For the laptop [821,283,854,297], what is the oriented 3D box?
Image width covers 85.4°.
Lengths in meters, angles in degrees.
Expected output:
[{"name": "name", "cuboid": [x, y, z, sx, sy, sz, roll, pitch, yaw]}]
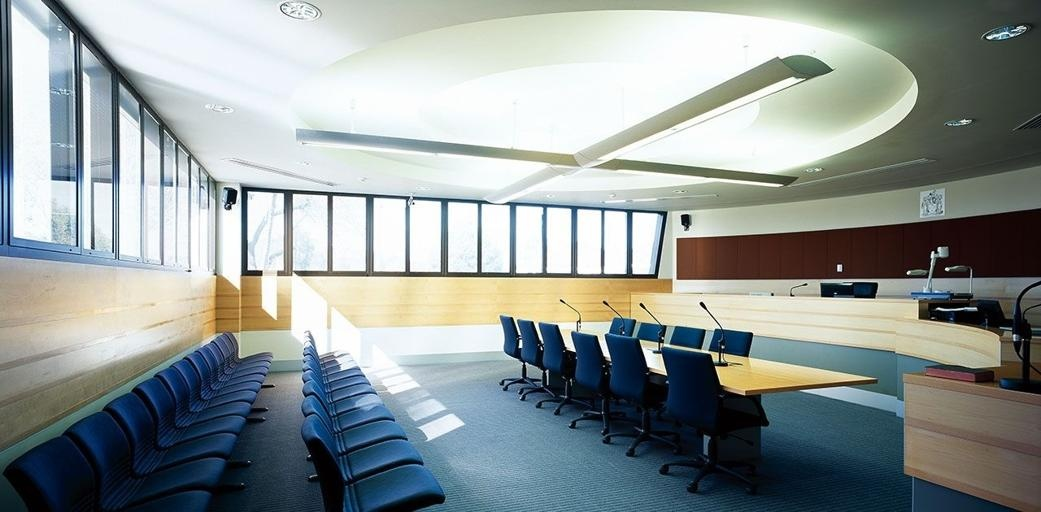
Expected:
[{"name": "laptop", "cuboid": [6.003, 0.644, 10.701, 0.298, 0.218, 0.531, 0, -1, -32]}]

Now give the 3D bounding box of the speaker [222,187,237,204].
[{"name": "speaker", "cuboid": [-5.714, -1.215, 11.294, 0.241, 0.328, 0.260, -1, 0, -25]}]

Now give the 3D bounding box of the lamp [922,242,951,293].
[{"name": "lamp", "cuboid": [7.768, 0.270, 10.540, 0.355, 0.889, 0.590, 3, -5, -16]}]
